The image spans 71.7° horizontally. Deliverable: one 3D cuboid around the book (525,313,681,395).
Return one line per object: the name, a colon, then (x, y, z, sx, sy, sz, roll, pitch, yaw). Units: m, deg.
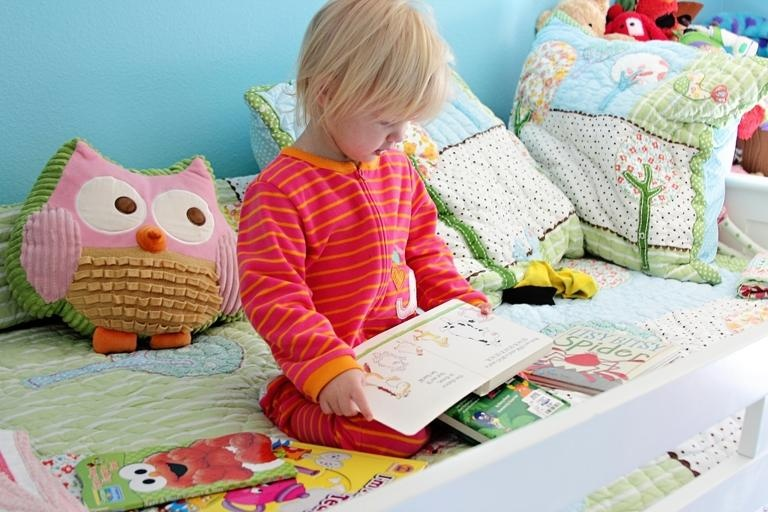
book: (0.394, 0.173, 1.008, 0.187, 0.041, 0.183, -19, 25, -34)

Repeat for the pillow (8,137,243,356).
pillow: (-0.594, -0.003, 1.195, 0.565, 0.450, 0.240, 0, -11, -33)

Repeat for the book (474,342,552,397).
book: (0.224, 0.195, 0.933, 0.106, 0.024, 0.107, -32, 14, -22)

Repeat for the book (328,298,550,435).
book: (0.090, 0.181, 0.933, 0.291, 0.028, 0.192, -28, 46, -34)

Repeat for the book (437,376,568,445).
book: (0.204, 0.263, 0.910, 0.175, 0.033, 0.160, -24, 38, -35)
